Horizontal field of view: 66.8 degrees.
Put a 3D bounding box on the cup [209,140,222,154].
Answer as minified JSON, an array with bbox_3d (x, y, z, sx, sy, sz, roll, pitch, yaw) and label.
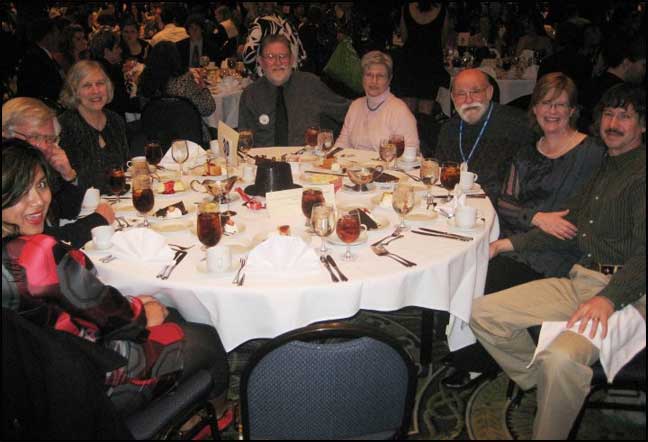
[{"bbox_3d":[-0.810,-0.547,3.682,0.130,0.091,0.105,-4,9,-43],"label":"cup"}]

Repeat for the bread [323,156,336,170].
[{"bbox_3d":[0.031,-0.402,3.400,0.090,0.033,0.099,14,30,29],"label":"bread"}]

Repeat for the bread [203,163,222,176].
[{"bbox_3d":[-0.745,-0.339,3.280,0.145,0.081,0.076,0,10,-7],"label":"bread"}]

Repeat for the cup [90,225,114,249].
[{"bbox_3d":[-1.090,0.080,2.456,0.102,0.098,0.129,4,19,-1],"label":"cup"}]

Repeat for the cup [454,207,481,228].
[{"bbox_3d":[0.751,-0.021,2.623,0.117,0.089,0.108,1,7,0],"label":"cup"}]

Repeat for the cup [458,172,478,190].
[{"bbox_3d":[0.900,-0.252,3.099,0.108,0.106,0.143,4,7,43],"label":"cup"}]

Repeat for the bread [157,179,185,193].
[{"bbox_3d":[-0.943,-0.216,3.027,0.086,0.052,0.112,8,11,15],"label":"bread"}]

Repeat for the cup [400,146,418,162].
[{"bbox_3d":[0.626,-0.490,3.604,0.108,0.077,0.106,-2,5,0],"label":"cup"}]

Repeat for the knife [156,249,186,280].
[{"bbox_3d":[-0.718,0.204,2.307,0.050,0.009,0.164,7,27,4],"label":"knife"}]

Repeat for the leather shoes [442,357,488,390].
[{"bbox_3d":[0.860,0.949,3.021,0.294,0.084,0.159,-21,28,-29],"label":"leather shoes"}]
